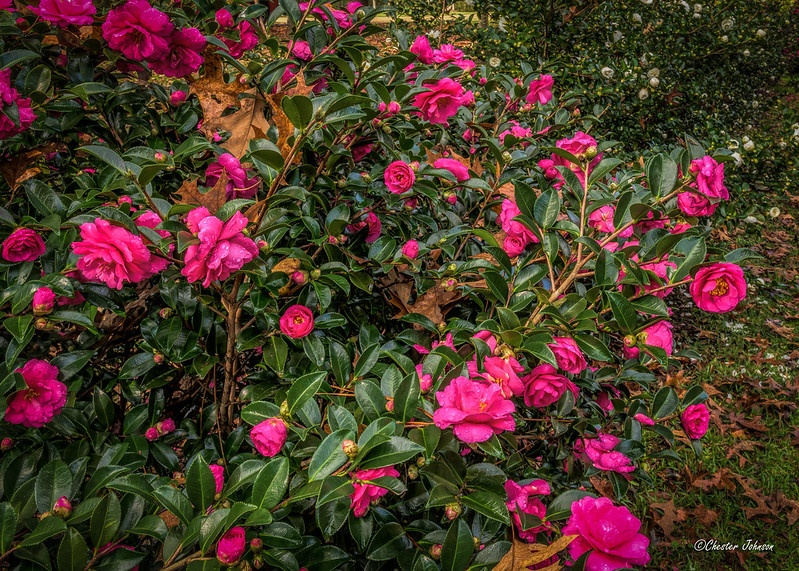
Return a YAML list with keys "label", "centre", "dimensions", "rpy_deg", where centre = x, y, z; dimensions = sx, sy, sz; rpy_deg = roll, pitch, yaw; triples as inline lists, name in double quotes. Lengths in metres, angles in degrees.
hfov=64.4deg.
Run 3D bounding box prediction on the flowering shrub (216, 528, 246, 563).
- label: "flowering shrub"
  centre: [-0.525, 0.808, 1.974]
  dimensions: [0.049, 0.086, 0.107]
  rpy_deg: [-1, 8, 3]
